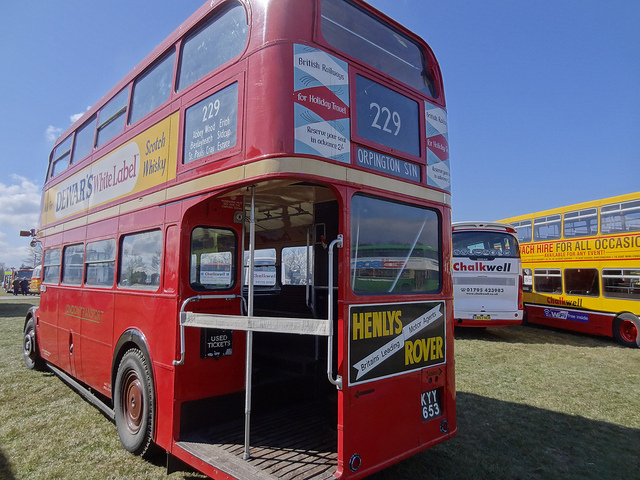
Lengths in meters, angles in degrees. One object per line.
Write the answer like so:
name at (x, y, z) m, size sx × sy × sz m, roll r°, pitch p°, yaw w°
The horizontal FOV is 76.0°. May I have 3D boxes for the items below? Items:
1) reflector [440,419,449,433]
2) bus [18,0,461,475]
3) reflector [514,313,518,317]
reflector at (1.657, 2.478, 5.486) m, size 0.122 × 0.163 × 0.048 m, roll 8°, pitch -4°, yaw -44°
bus at (-0.900, 0.255, 5.645) m, size 2.211 × 3.783 × 5.375 m, roll 2°, pitch -1°, yaw -32°
reflector at (6.258, 2.377, 13.151) m, size 0.083 × 0.096 × 0.020 m, roll 16°, pitch 4°, yaw 26°
